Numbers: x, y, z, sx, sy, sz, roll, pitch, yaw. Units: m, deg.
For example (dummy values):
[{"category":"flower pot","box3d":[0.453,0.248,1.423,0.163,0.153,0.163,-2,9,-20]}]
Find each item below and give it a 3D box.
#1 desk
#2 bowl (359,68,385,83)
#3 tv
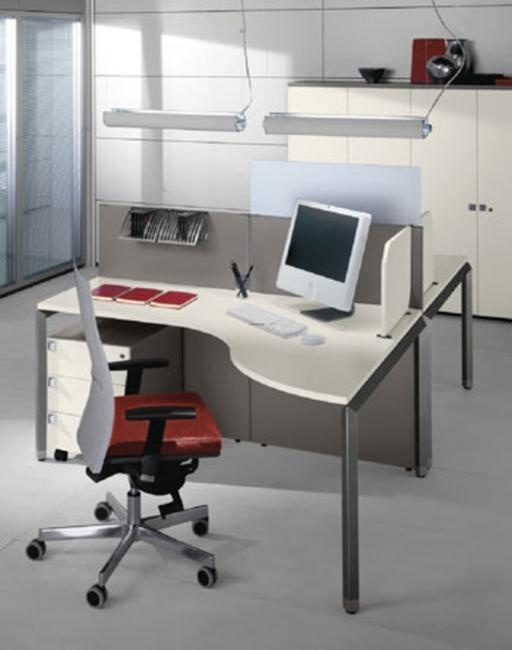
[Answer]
[{"category":"desk","box3d":[0.072,-0.035,2.561,1.430,1.114,1.932,6,17,25]},{"category":"bowl","box3d":[1.022,-2.178,5.386,0.212,0.119,0.211,0,20,0]},{"category":"tv","box3d":[0.296,-0.255,2.554,0.179,0.457,0.453,-13,21,-34]}]
